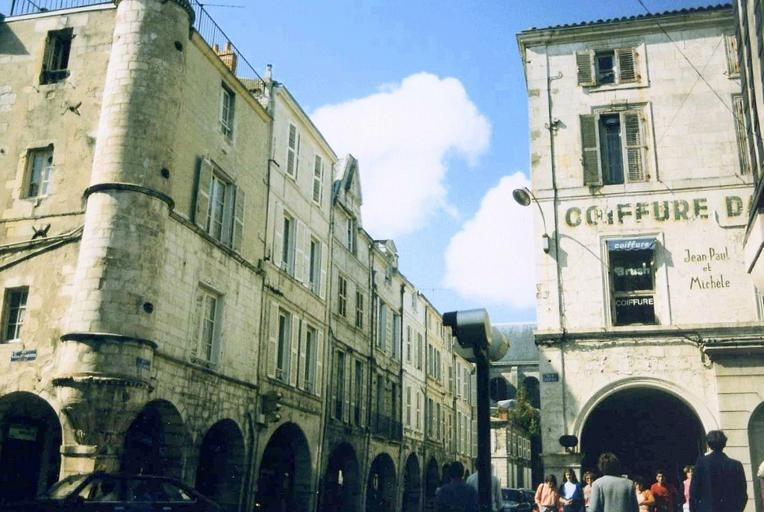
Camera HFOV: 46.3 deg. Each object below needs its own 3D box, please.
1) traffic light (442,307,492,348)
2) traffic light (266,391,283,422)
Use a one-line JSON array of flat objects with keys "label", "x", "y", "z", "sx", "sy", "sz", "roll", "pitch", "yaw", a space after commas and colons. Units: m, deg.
[{"label": "traffic light", "x": 1.566, "y": 1.338, "z": 16.400, "sx": 0.835, "sy": 0.637, "sz": 0.444, "roll": -3, "pitch": -22, "yaw": 10}, {"label": "traffic light", "x": -3.672, "y": 5.096, "z": 29.911, "sx": 0.627, "sy": 0.902, "sz": 1.302, "roll": 4, "pitch": -22, "yaw": -7}]
